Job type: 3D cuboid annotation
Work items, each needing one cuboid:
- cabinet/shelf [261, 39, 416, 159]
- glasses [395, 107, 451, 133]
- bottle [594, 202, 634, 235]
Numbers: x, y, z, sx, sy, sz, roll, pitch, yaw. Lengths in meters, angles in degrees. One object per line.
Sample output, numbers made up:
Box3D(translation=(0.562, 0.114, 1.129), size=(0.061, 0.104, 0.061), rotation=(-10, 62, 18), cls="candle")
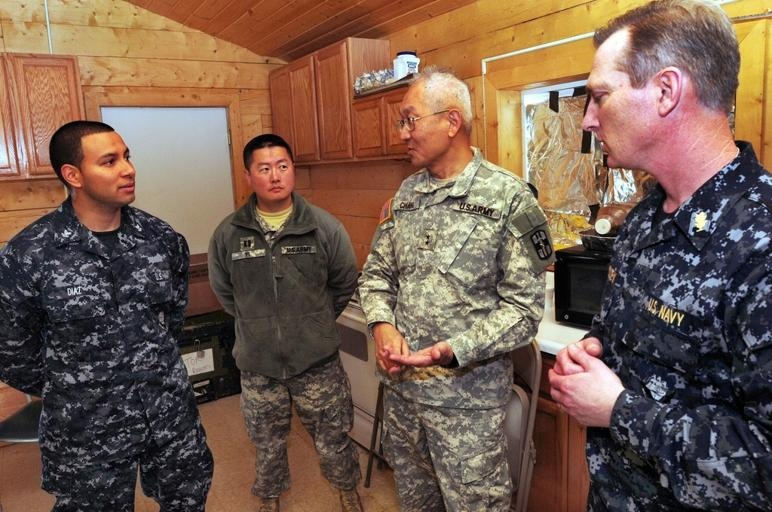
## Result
Box3D(translation=(-0.318, -1.143, 3.850), size=(0.386, 0.773, 1.450), rotation=(-5, 9, -31), cls="cabinet/shelf")
Box3D(translation=(0.140, -0.564, 2.189), size=(0.122, 0.030, 0.112), rotation=(-18, 10, -8), cls="glasses")
Box3D(translation=(1.030, -0.176, 2.440), size=(0.079, 0.111, 0.217), rotation=(4, 29, 42), cls="bottle")
